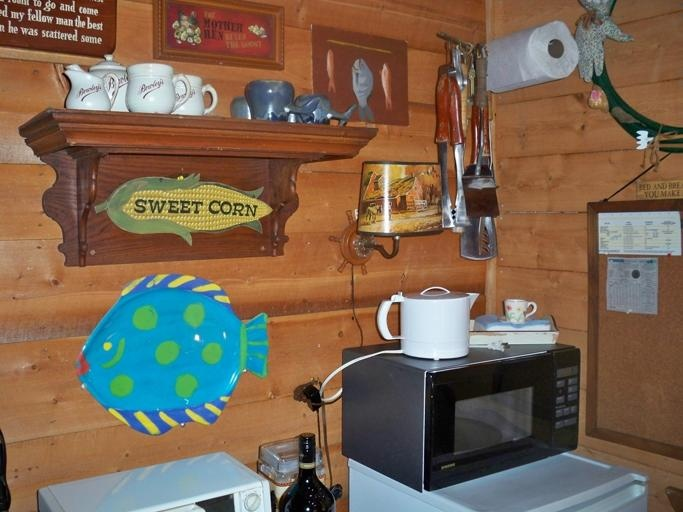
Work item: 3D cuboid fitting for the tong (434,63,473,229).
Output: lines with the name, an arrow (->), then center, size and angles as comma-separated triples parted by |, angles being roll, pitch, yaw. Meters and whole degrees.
tong -> 0.365, -0.371, 1.783 | 0.085, 0.498, 0.107 | -14, 22, -20

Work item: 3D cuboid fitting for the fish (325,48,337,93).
fish -> -0.033, -0.565, 1.655 | 0.030, 0.125, 0.006 | -5, 4, -40

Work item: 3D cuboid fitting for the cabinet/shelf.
cabinet/shelf -> -0.592, -0.173, 1.829 | 1.394, 0.498, 0.527 | -1, 3, -25

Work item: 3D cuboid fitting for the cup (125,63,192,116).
cup -> -0.399, -0.361, 1.195 | 0.141, 0.111, 0.083 | -4, 3, -20

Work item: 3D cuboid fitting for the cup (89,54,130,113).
cup -> -0.501, -0.380, 1.226 | 0.085, 0.122, 0.103 | -8, 16, -43

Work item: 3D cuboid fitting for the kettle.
kettle -> 0.255, 0.157, 1.531 | 0.334, 0.198, 0.236 | 0, 0, 32
